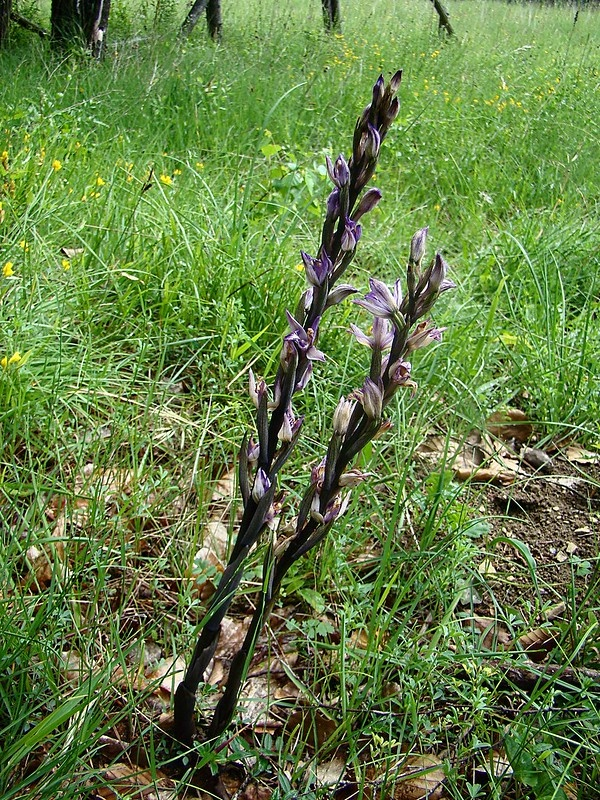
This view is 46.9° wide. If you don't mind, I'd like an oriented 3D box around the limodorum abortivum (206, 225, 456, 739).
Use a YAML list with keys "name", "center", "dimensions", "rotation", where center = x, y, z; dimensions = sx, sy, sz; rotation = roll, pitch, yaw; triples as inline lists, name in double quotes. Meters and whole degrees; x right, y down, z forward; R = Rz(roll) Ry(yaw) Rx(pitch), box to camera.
- name: "limodorum abortivum"
  center: [0.047, 0.207, 1.253]
  dimensions: [0.206, 1.048, 0.366]
  rotation: [17, 28, 9]
